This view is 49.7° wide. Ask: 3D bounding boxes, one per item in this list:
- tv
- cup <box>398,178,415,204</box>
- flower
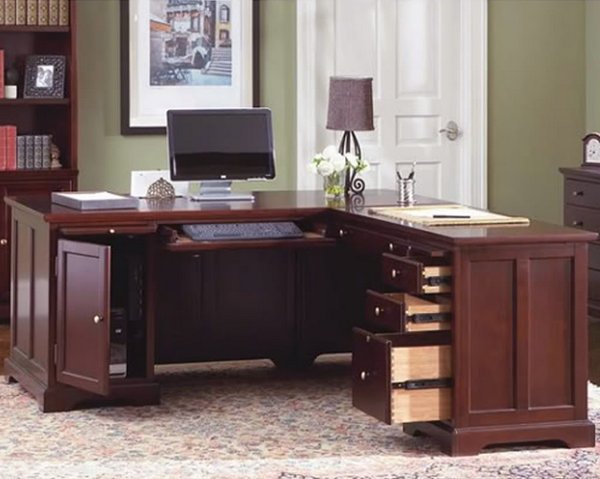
[{"bbox_3d":[-0.391,-0.428,3.260,0.519,0.451,0.230,-4,18,-16],"label":"tv"},{"bbox_3d":[0.511,-0.236,3.137,0.120,0.139,0.102,-1,4,-2],"label":"cup"},{"bbox_3d":[0.185,-0.345,3.320,0.265,0.245,0.264,-7,6,-42],"label":"flower"}]
